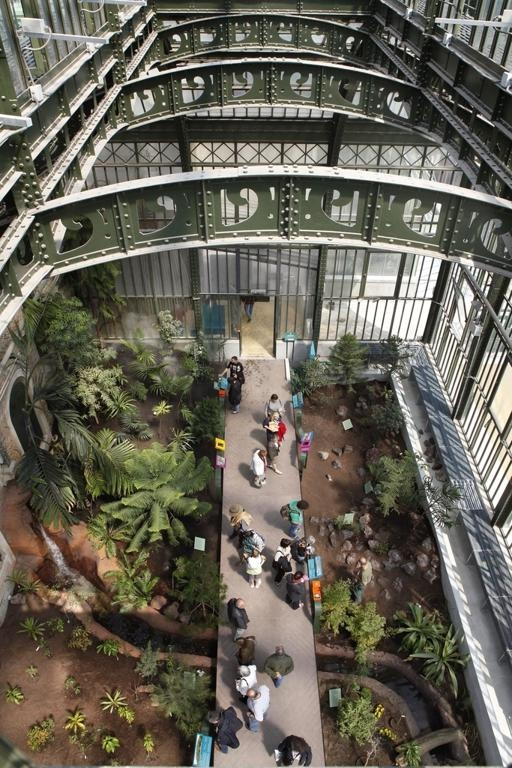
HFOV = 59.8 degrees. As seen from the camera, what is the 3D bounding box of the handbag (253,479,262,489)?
[{"bbox_3d":[0.069,2.395,10.753,0.246,0.095,0.243,0,47,17],"label":"handbag"}]
